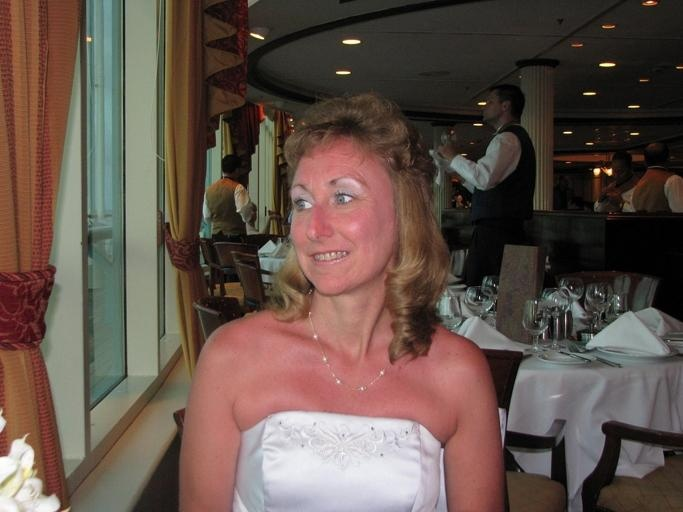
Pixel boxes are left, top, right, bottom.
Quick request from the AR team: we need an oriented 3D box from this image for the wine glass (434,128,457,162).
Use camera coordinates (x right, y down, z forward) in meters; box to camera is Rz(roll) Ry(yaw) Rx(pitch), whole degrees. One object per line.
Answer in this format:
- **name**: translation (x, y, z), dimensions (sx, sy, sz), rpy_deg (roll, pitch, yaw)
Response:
- **wine glass**: translation (0.808, -0.845, 4.070), dimensions (0.218, 0.245, 0.128), rpy_deg (-10, 11, -36)

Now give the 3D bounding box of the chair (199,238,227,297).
- **chair**: translation (-1.769, 0.150, 7.190), dimensions (0.387, 0.614, 0.464), rpy_deg (-6, -5, 13)

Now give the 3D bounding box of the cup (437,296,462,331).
- **cup**: translation (0.516, 0.323, 2.538), dimensions (0.131, 0.239, 0.138), rpy_deg (1, -18, 0)

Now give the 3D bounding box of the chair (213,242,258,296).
- **chair**: translation (-1.251, 0.169, 6.141), dimensions (0.408, 0.583, 0.425), rpy_deg (8, 3, -38)

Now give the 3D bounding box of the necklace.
- **necklace**: translation (0.016, 0.253, 1.392), dimensions (0.170, 0.181, 0.038), rpy_deg (6, -19, -27)

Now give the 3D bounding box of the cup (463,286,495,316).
- **cup**: translation (0.725, 0.223, 2.817), dimensions (0.142, 0.233, 0.143), rpy_deg (-2, 2, 0)
